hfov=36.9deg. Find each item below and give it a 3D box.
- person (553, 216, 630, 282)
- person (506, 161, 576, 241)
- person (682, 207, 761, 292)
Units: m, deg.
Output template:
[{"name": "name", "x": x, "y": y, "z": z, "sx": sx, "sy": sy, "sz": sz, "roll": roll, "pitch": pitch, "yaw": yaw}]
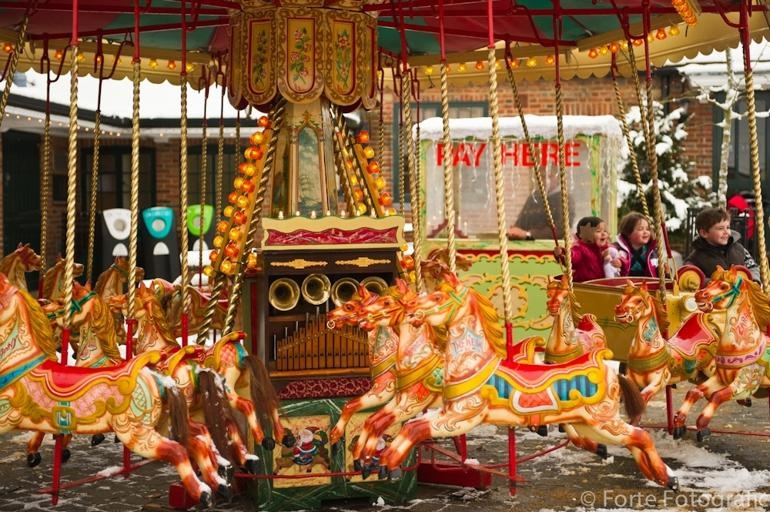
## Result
[{"name": "person", "x": 2.590, "y": 0.019, "z": 14.678, "sx": 0.864, "sy": 1.060, "sz": 0.575, "roll": -15, "pitch": 18, "yaw": -22}, {"name": "person", "x": 2.284, "y": -0.770, "z": 16.874, "sx": 0.929, "sy": 1.026, "sz": 0.794, "roll": -1, "pitch": 3, "yaw": 13}, {"name": "person", "x": 3.952, "y": 0.053, "z": 13.541, "sx": 0.771, "sy": 1.259, "sz": 0.688, "roll": -7, "pitch": -2, "yaw": 3}]
